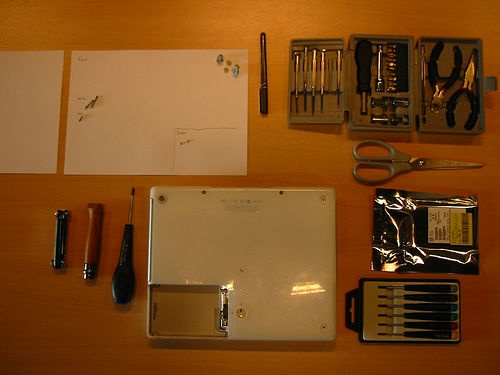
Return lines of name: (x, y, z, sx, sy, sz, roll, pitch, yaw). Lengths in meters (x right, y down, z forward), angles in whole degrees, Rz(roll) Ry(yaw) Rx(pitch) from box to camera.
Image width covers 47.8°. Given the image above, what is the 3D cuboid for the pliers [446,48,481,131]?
pliers: (0.715, -0.327, 1.876, 0.111, 0.274, 0.050, 0, 4, -15)
